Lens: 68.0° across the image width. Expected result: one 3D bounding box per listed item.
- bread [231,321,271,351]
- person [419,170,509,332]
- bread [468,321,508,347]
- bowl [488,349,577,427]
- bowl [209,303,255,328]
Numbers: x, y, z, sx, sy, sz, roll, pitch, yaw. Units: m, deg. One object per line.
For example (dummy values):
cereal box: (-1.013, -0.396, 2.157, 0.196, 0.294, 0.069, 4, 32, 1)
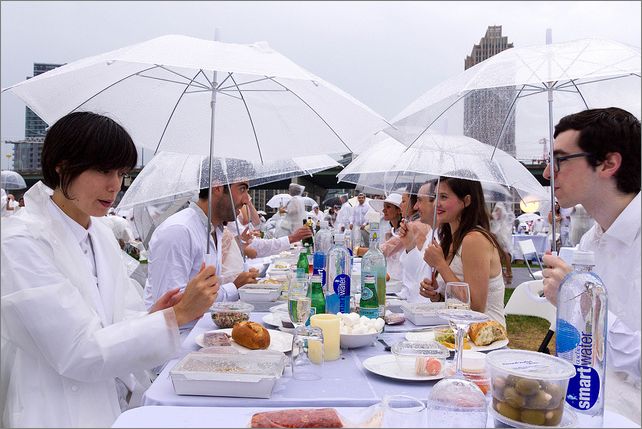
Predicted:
bread: (-0.415, 0.659, 2.779, 0.126, 0.093, 0.242, -10, 8, -28)
person: (1.147, 0.274, 3.891, 0.743, 1.670, 0.758, 2, -43, 11)
bread: (0.996, 0.709, 2.826, 0.164, 0.103, 0.283, -10, -3, 2)
bowl: (0.889, 0.747, 2.058, 0.325, 0.210, 0.322, 2, 1, 0)
bowl: (-0.615, 0.678, 3.232, 0.354, 0.171, 0.357, -2, -9, 0)
